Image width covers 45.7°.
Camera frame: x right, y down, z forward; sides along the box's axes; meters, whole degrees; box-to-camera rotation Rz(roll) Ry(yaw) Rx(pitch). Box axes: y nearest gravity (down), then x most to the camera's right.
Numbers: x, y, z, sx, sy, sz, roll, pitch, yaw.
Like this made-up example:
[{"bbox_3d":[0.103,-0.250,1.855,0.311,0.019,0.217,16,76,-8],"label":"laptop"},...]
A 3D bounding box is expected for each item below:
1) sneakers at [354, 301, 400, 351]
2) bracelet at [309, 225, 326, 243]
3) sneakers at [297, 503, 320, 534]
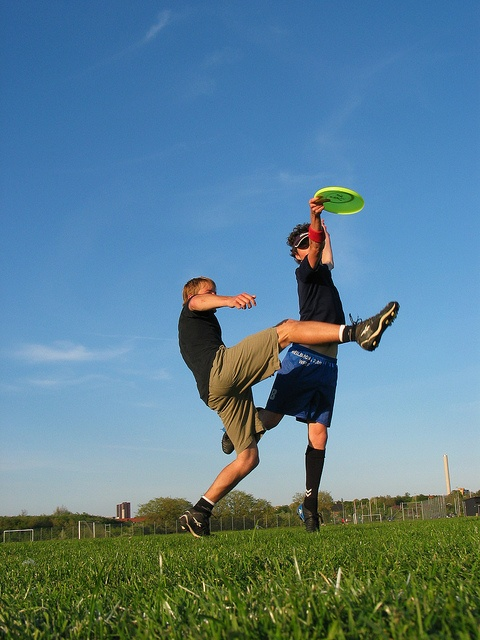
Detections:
[{"bbox_3d":[0.856,0.037,3.572,0.166,0.314,0.104,33,3,13],"label":"sneakers"},{"bbox_3d":[0.636,-0.725,4.788,0.118,0.099,0.123,1,2,3],"label":"bracelet"},{"bbox_3d":[0.717,2.073,5.916,0.128,0.398,0.150,-6,-9,-43],"label":"sneakers"}]
